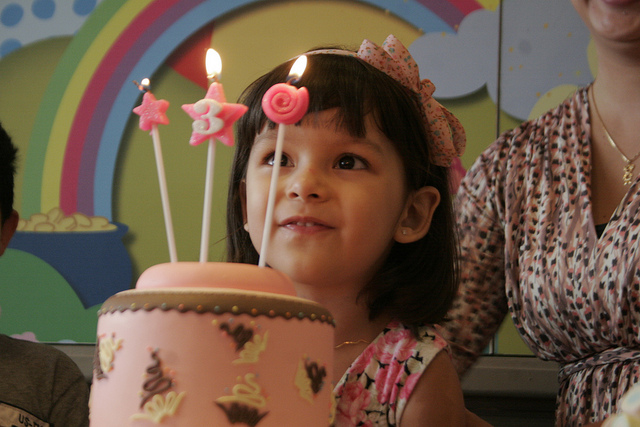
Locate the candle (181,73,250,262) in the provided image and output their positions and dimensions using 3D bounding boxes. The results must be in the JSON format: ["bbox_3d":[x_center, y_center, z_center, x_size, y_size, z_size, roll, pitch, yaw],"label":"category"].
[{"bbox_3d":[-0.234,-0.102,1.852,0.140,0.428,0.201,0,-5,-6],"label":"candle"}]

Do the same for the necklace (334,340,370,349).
[{"bbox_3d":[0.069,0.315,2.018,0.112,0.005,0.027,-6,15,-10],"label":"necklace"}]

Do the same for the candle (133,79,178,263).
[{"bbox_3d":[-0.345,-0.081,1.817,0.084,0.415,0.039,-10,3,-28],"label":"candle"}]

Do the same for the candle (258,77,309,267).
[{"bbox_3d":[-0.084,-0.081,1.868,0.104,0.404,0.210,0,-5,-4],"label":"candle"}]

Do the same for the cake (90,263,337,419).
[{"bbox_3d":[-0.213,0.268,1.669,0.357,0.261,0.365,-2,-10,12],"label":"cake"}]
